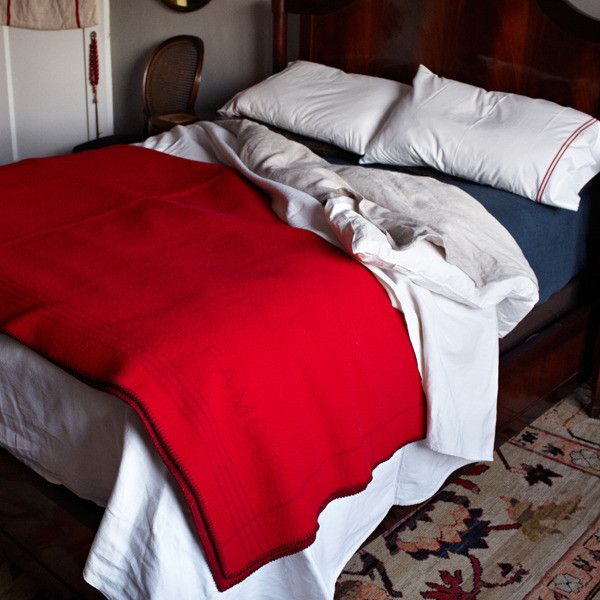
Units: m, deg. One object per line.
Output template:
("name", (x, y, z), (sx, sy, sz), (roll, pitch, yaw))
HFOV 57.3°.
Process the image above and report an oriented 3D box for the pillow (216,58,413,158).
("pillow", (0.085, -0.733, 2.095), (0.531, 0.139, 0.451), (23, 59, 35))
